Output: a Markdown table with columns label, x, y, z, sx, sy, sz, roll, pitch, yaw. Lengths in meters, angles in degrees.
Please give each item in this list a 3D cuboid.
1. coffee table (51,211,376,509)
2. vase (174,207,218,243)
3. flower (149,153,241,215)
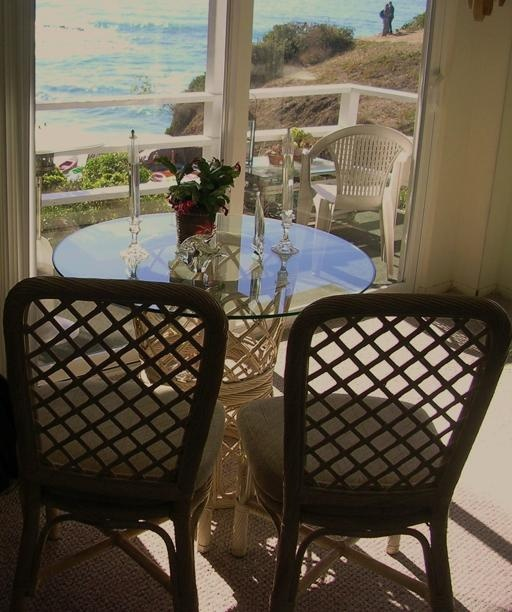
| label | x | y | z | sx | sy | sz | roll | pitch | yaw |
| --- | --- | --- | --- | --- | --- | --- | --- | --- | --- |
| coffee table | -0.133 | 0.163 | 1.854 | 0.990 | 0.610 | 0.898 | 1 | 30 | -2 |
| vase | -0.149 | -0.221 | 1.523 | 0.102 | 0.089 | 0.094 | 21 | 26 | 36 |
| flower | -0.161 | -0.319 | 1.521 | 0.224 | 0.120 | 0.283 | 9 | 7 | 33 |
